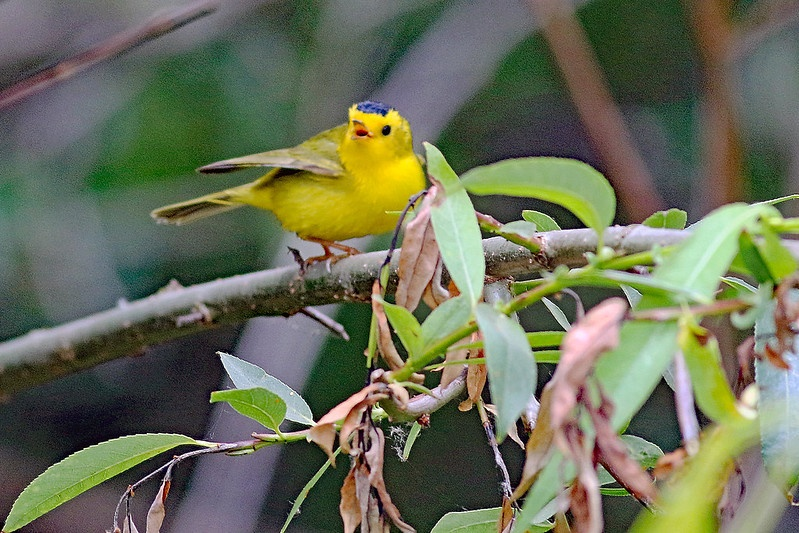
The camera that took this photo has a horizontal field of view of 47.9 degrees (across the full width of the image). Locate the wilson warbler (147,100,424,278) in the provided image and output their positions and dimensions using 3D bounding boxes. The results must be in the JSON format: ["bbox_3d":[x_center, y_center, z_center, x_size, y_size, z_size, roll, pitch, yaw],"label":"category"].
[{"bbox_3d":[-0.314,-0.286,2.608,0.715,0.442,0.423,12,15,16],"label":"wilson warbler"}]
